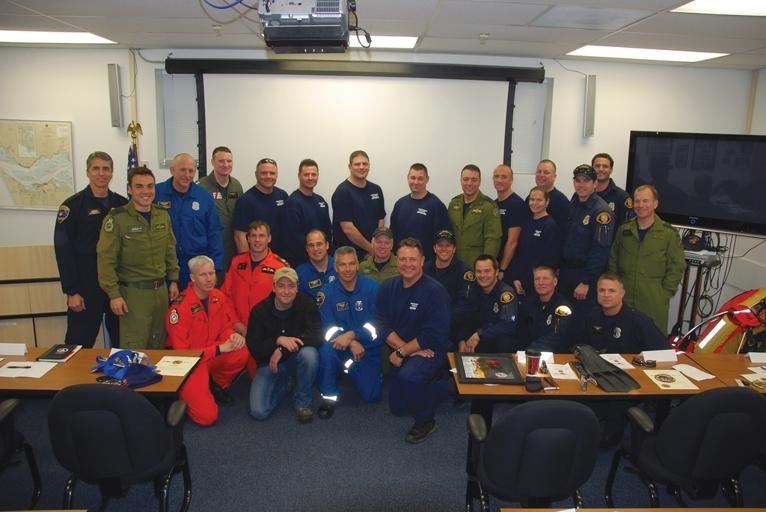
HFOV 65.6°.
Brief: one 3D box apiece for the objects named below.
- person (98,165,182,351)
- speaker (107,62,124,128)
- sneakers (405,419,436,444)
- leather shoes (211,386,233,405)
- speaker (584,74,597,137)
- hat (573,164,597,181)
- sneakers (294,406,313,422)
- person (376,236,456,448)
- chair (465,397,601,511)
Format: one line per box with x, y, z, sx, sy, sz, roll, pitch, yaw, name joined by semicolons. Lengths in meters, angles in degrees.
-2.552;0.045;6.191;0.477;1.904;0.686;7;15;26;person
-3.368;-2.016;7.485;0.173;0.767;0.125;-6;15;-24;speaker
0.375;1.679;5.819;0.361;0.153;0.129;-20;29;-37;sneakers
-1.688;1.450;6.223;0.246;0.137;0.115;3;14;14;leather shoes
2.732;-1.960;7.806;0.163;0.793;0.130;3;14;13;speaker
2.341;-0.946;6.791;0.172;0.118;0.236;3;-19;35;hat
-0.785;1.580;5.963;0.180;0.124;0.151;-3;13;-11;sneakers
0.287;0.954;5.853;0.740;1.553;0.689;1;14;3;person
1.079;1.401;4.925;0.961;1.114;0.980;1;19;1;chair
